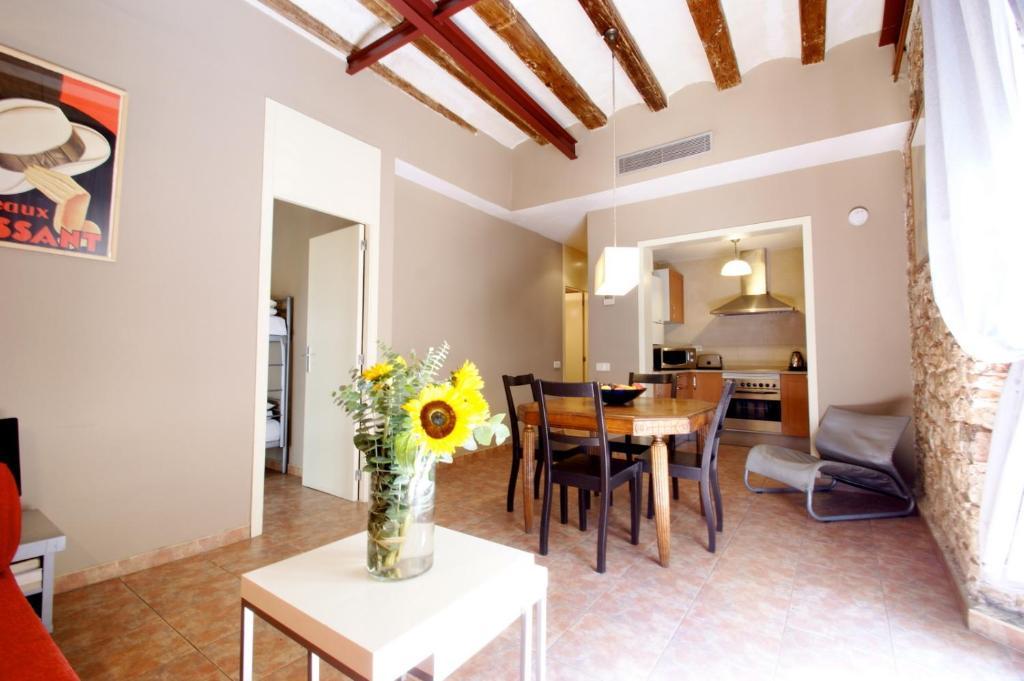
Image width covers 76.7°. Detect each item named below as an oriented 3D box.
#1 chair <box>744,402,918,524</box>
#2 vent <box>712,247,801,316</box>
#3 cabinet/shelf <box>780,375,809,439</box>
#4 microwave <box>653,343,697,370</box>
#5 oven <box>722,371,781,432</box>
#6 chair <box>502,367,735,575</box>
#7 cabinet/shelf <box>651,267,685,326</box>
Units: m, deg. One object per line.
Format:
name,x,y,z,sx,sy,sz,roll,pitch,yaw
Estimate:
chair,2.530,0.961,5.203,1.039,0.770,0.804,1,3,-14
vent,3.037,-0.696,8.093,0.987,0.868,0.593,-3,-12,32
cabinet/shelf,2.964,0.738,6.930,0.370,0.656,0.344,0,-1,5
microwave,2.069,0.201,8.148,0.446,0.271,1.120,-2,2,19
oven,2.638,0.700,7.208,0.625,0.609,0.443,2,-6,8
chair,0.870,0.836,4.849,1.125,1.126,1.390,1,3,34
cabinet/shelf,2.041,-0.552,8.452,0.297,0.604,0.619,5,-8,-7
